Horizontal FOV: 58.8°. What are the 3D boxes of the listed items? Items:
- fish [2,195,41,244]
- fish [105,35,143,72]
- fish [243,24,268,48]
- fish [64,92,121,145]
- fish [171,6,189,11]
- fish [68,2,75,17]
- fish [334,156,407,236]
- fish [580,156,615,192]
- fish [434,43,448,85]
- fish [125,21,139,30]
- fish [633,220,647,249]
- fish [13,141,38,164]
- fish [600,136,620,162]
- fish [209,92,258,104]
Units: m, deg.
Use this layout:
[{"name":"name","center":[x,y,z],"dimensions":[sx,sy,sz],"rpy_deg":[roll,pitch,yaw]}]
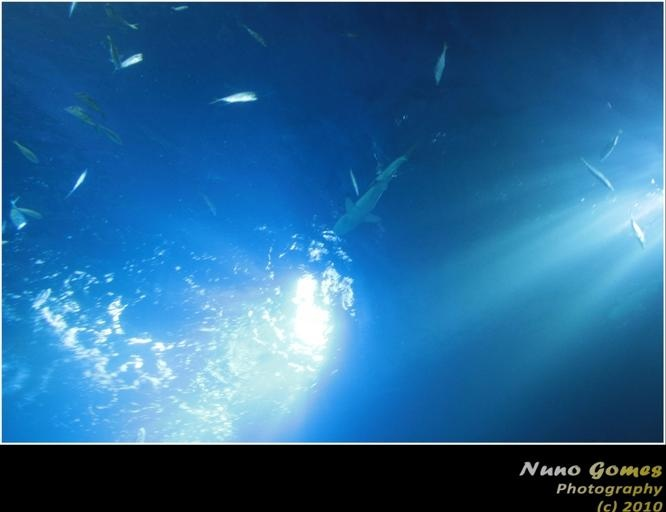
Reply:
[{"name":"fish","center":[-1.406,-0.160,2.672],"dimensions":[0.177,0.200,0.011],"rpy_deg":[-6,-3,-2]},{"name":"fish","center":[-0.948,-0.929,2.706],"dimensions":[0.158,0.158,0.021],"rpy_deg":[-6,-3,-1]},{"name":"fish","center":[-0.363,-1.007,2.728],"dimensions":[0.025,0.127,0.018],"rpy_deg":[-25,26,51]},{"name":"fish","center":[-1.108,-0.619,2.699],"dimensions":[0.097,0.252,0.060],"rpy_deg":[-38,21,28]},{"name":"fish","center":[-0.701,-1.133,2.722],"dimensions":[0.065,0.024,0.021],"rpy_deg":[0,14,1]},{"name":"fish","center":[-1.185,-1.114,2.700],"dimensions":[0.025,0.063,0.022],"rpy_deg":[23,6,3]},{"name":"fish","center":[0.154,-0.248,2.790],"dimensions":[0.525,0.162,0.126],"rpy_deg":[-47,12,-10]},{"name":"fish","center":[1.214,-0.378,2.723],"dimensions":[0.031,0.176,0.031],"rpy_deg":[-34,-10,4]},{"name":"fish","center":[0.494,-0.866,2.714],"dimensions":[0.045,0.189,0.072],"rpy_deg":[14,9,15]},{"name":"fish","center":[-0.919,-1.047,2.708],"dimensions":[0.053,0.039,0.006],"rpy_deg":[-6,-3,-13]},{"name":"fish","center":[1.407,-0.099,2.718],"dimensions":[0.045,0.127,0.035],"rpy_deg":[-7,3,5]},{"name":"fish","center":[-1.386,-0.470,2.706],"dimensions":[0.045,0.185,0.048],"rpy_deg":[-43,-23,-29]},{"name":"fish","center":[1.278,-0.497,2.723],"dimensions":[0.102,0.119,0.023],"rpy_deg":[-6,-3,-12]},{"name":"fish","center":[-0.459,-0.725,2.723],"dimensions":[0.179,0.069,0.032],"rpy_deg":[-6,-4,-1]}]
